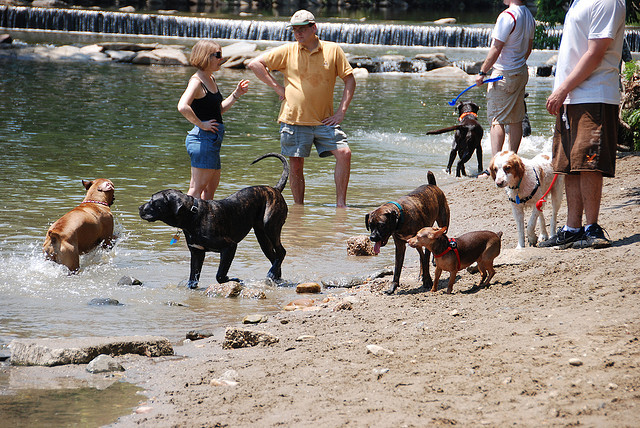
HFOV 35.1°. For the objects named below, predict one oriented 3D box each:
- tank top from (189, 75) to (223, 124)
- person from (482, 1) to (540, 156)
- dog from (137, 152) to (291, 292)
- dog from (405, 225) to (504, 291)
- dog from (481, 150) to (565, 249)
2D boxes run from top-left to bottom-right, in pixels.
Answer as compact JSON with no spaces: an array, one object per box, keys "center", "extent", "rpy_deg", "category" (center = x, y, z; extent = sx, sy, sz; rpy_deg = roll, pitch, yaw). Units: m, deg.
[{"center":[-1.697,-1.722,15.043],"extent":[0.584,0.689,0.296],"rpy_deg":[-4,12,-29],"category":"tank top"},{"center":[3.030,-2.230,16.397],"extent":[0.504,2.495,1.044],"rpy_deg":[9,12,35],"category":"person"},{"center":[-1.389,0.078,14.508],"extent":[2.610,1.820,1.038],"rpy_deg":[-8,7,-38],"category":"dog"},{"center":[1.804,0.555,13.195],"extent":[1.660,0.874,0.405],"rpy_deg":[-6,7,-31],"category":"dog"},{"center":[2.987,-0.212,14.346],"extent":[1.120,1.381,0.969],"rpy_deg":[-6,13,-38],"category":"dog"}]
